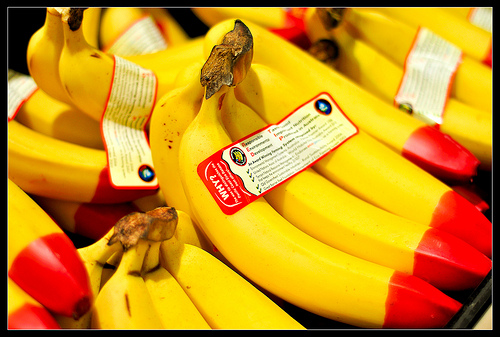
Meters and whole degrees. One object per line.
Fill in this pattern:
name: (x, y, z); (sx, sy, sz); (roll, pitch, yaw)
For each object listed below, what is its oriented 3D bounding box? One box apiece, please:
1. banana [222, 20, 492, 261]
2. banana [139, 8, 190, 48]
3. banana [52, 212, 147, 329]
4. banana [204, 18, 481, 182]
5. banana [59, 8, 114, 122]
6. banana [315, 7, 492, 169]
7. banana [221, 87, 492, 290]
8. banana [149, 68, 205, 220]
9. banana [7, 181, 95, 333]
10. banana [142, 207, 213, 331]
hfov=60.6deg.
banana: (0.234, -0.049, 0.958); (0.574, 0.202, 0.121); (43, 65, 1)
banana: (-0.250, -0.409, 1.241); (0.039, 0.050, 0.150); (-33, 100, -35)
banana: (-0.294, 0.208, 0.845); (0.056, 0.079, 0.217); (26, 51, 9)
banana: (0.204, -0.123, 1.109); (0.669, 0.208, 0.170); (28, 78, 19)
banana: (-0.385, -0.244, 1.002); (0.128, 0.246, 0.100); (7, 30, -13)
banana: (0.357, -0.185, 1.038); (0.434, 0.151, 0.092); (41, 74, 6)
banana: (0.204, 0.054, 0.913); (0.463, 0.165, 0.095); (39, 58, 21)
banana: (-0.146, -0.061, 1.013); (0.100, 0.395, 0.121); (-9, 10, -43)
banana: (-0.442, 0.178, 0.890); (0.092, 0.138, 0.279); (-39, 79, -13)
banana: (-0.149, 0.208, 0.858); (0.059, 0.127, 0.205); (-16, 60, -18)
